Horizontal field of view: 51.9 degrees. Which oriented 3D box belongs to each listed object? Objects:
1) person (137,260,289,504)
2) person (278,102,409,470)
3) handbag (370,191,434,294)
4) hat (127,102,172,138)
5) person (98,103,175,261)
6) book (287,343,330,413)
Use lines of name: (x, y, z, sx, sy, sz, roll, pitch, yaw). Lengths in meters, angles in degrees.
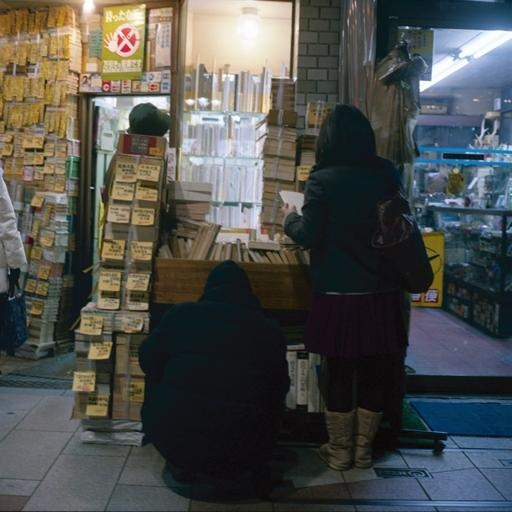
person: (-0.181, 0.558, 2.640, 0.776, 1.027, 0.700, 11, -15, -15)
person: (0.567, 0.183, 2.874, 0.741, 1.936, 0.493, -1, 4, -34)
handbag: (0.744, -0.074, 2.754, 0.303, 0.490, 0.121, -28, 6, 16)
hat: (-0.677, -0.880, 3.369, 0.202, 0.194, 0.254, 2, 22, 2)
person: (-0.694, -0.638, 3.675, 0.607, 1.139, 0.646, 6, 2, -11)
book: (0.318, 0.642, 3.462, 0.321, 0.592, 0.608, 0, -2, 5)
